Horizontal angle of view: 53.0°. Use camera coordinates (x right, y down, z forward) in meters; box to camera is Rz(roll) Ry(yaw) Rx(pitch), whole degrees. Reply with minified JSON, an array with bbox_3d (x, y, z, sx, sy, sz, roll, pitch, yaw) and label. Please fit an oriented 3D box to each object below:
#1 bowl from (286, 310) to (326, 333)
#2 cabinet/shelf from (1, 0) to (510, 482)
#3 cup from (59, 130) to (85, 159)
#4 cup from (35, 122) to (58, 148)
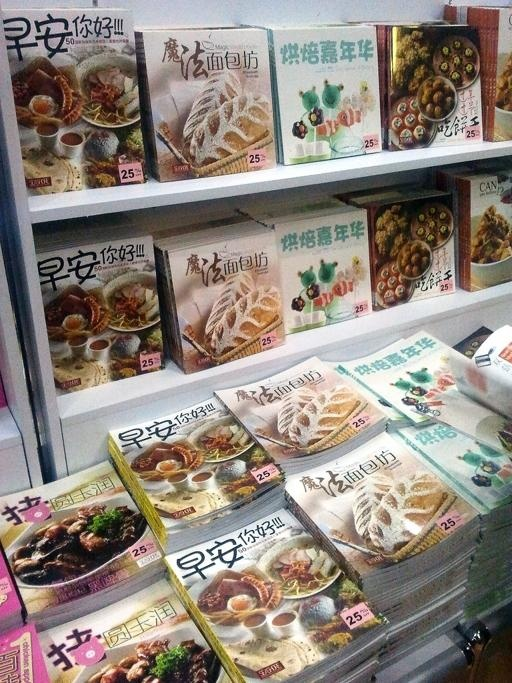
[{"bbox_3d":[0.133,-0.051,1.384,0.119,0.054,0.033,-10,5,-21],"label":"bowl"},{"bbox_3d":[-0.020,-0.221,1.146,1.154,0.685,0.365,-18,38,-22],"label":"cabinet/shelf"},{"bbox_3d":[-0.347,-0.368,0.959,0.043,0.033,0.046,5,45,-5],"label":"cup"},{"bbox_3d":[-0.381,-0.375,0.935,0.039,0.040,0.041,4,28,-2],"label":"cup"}]
